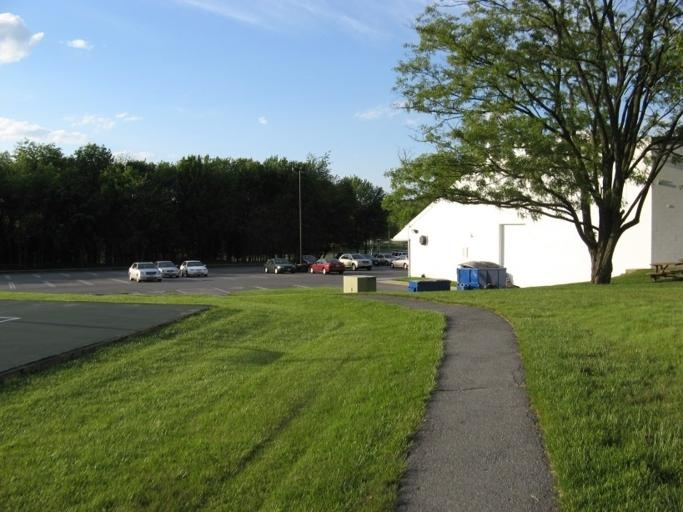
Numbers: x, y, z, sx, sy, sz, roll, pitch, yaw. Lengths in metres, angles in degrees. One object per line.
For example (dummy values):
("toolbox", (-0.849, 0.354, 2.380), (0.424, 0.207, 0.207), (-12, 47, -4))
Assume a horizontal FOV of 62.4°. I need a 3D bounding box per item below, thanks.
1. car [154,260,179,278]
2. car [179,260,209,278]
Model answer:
("car", (-13.213, 0.984, 43.072), (1.064, 1.003, 1.865), (-1, -3, -31))
("car", (-12.011, 1.003, 45.383), (1.093, 0.979, 2.511), (-1, -3, -26))
